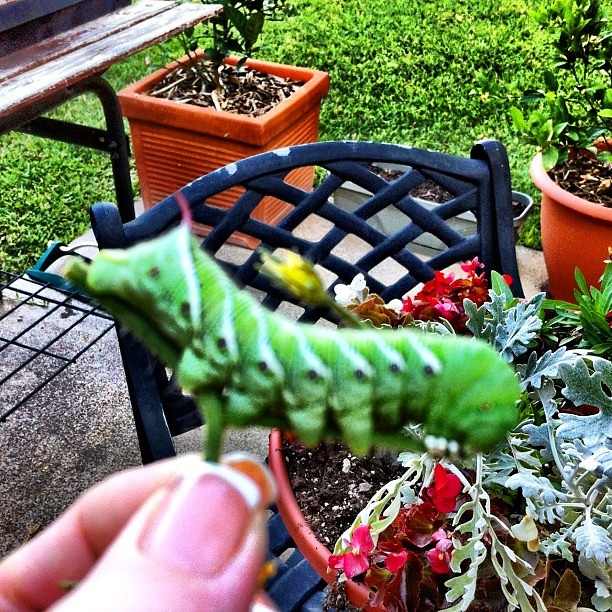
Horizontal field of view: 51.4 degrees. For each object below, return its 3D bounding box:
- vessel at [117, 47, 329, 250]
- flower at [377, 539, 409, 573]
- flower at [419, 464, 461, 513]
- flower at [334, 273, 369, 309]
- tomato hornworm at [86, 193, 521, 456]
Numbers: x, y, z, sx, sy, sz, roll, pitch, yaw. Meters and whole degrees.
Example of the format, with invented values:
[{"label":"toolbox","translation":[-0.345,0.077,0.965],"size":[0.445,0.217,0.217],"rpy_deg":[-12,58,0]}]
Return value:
[{"label":"vessel","translation":[-0.334,-0.730,2.690],"size":[0.806,0.413,0.634],"rpy_deg":[3,45,-4]},{"label":"flower","translation":[0.101,0.311,0.774],"size":[0.018,0.039,0.034],"rpy_deg":[-13,72,-15]},{"label":"flower","translation":[0.160,0.201,0.718],"size":[0.019,0.032,0.037],"rpy_deg":[20,1,-15]},{"label":"flower","translation":[0.074,-0.024,1.021],"size":[0.061,0.024,0.048],"rpy_deg":[32,66,-27]},{"label":"tomato hornworm","translation":[0.001,0.011,0.375],"size":[0.283,0.115,0.085],"rpy_deg":[18,9,-3]}]
